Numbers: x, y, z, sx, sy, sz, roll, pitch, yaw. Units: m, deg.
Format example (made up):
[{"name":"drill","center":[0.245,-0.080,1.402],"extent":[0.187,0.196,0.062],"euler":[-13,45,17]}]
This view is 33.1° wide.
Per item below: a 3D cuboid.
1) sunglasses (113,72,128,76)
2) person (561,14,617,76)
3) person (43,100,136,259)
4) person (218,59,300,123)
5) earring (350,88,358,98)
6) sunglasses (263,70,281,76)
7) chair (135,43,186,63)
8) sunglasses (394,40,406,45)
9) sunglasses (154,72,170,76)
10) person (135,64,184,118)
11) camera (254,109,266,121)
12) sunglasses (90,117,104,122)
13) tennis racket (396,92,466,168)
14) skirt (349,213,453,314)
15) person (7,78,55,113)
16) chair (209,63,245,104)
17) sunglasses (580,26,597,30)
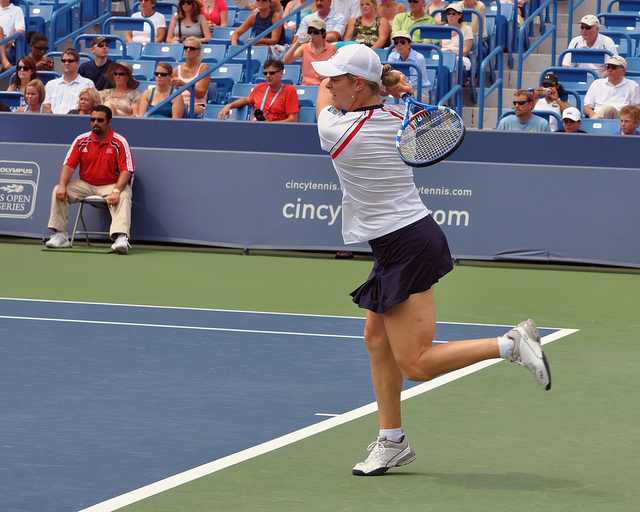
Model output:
[{"name":"sunglasses","center":[-2.668,-2.430,14.419],"extent":[0.200,0.045,0.088],"euler":[3,11,14]},{"name":"person","center":[3.587,-2.745,14.310],"extent":[0.708,0.899,0.550],"euler":[3,12,28]},{"name":"person","center":[-2.782,-0.913,12.977],"extent":[1.114,1.774,1.104],"euler":[0,11,-2]},{"name":"person","center":[-0.695,-2.104,13.686],"extent":[0.990,0.770,0.530],"euler":[11,15,43]},{"name":"earring","center":[0.193,-0.909,6.004],"extent":[0.011,0.047,0.009],"euler":[28,19,28]},{"name":"sunglasses","center":[-0.578,-2.278,13.379],"extent":[0.202,0.055,0.101],"euler":[0,11,-3]},{"name":"chair","center":[-2.402,-3.115,16.530],"extent":[0.634,0.445,0.258],"euler":[1,-17,15]},{"name":"sunglasses","center":[1.036,-2.742,13.830],"extent":[0.159,0.055,0.095],"euler":[5,12,21]},{"name":"sunglasses","center":[-2.083,-2.385,14.145],"extent":[0.208,0.042,0.112],"euler":[7,13,32]},{"name":"person","center":[-2.091,-2.163,14.139],"extent":[0.623,0.685,0.933],"euler":[-2,11,-12]},{"name":"camera","center":[-0.754,-1.767,13.557],"extent":[0.074,0.232,0.091],"euler":[-9,-28,-7]},{"name":"sunglasses","center":[-2.664,-1.618,12.832],"extent":[0.207,0.057,0.096],"euler":[10,14,40]},{"name":"tennis racket","center":[0.608,-0.675,5.905],"extent":[0.363,0.348,0.350],"euler":[3,11,12]},{"name":"skirt","center":[0.430,-0.041,6.148],"extent":[0.439,0.566,0.573],"euler":[9,30,29]},{"name":"person","center":[-3.835,-2.114,14.378],"extent":[0.574,0.457,1.389],"euler":[-2,11,-14]},{"name":"chair","center":[-1.349,-2.496,15.542],"extent":[0.544,0.720,0.615],"euler":[2,2,11]},{"name":"sunglasses","center":[3.518,-3.005,14.195],"extent":[0.185,0.043,0.116],"euler":[8,13,36]}]
